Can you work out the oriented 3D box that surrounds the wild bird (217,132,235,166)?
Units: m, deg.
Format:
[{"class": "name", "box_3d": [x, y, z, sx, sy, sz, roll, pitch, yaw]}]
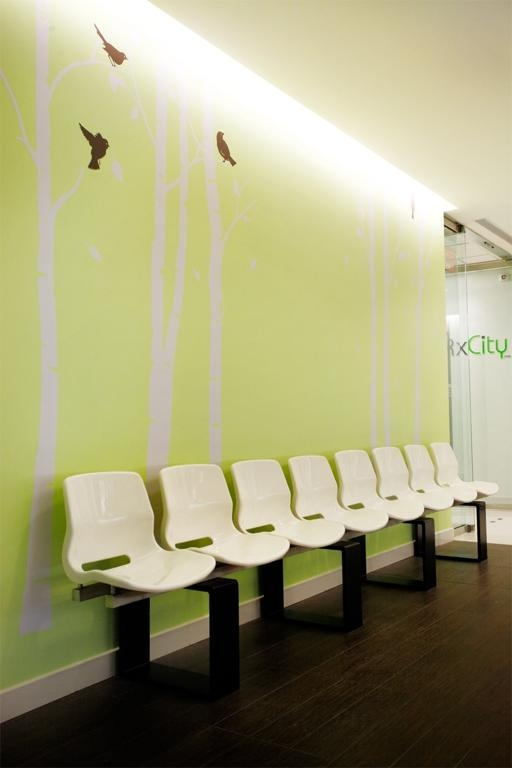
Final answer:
[{"class": "wild bird", "box_3d": [-0.162, -1.274, 3.091, 0.057, 0.176, 0.107, -27, 41, -17]}]

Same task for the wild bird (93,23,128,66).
[{"class": "wild bird", "box_3d": [-0.636, -1.463, 2.474, 0.086, 0.046, 0.209, -14, -45, 21]}]
